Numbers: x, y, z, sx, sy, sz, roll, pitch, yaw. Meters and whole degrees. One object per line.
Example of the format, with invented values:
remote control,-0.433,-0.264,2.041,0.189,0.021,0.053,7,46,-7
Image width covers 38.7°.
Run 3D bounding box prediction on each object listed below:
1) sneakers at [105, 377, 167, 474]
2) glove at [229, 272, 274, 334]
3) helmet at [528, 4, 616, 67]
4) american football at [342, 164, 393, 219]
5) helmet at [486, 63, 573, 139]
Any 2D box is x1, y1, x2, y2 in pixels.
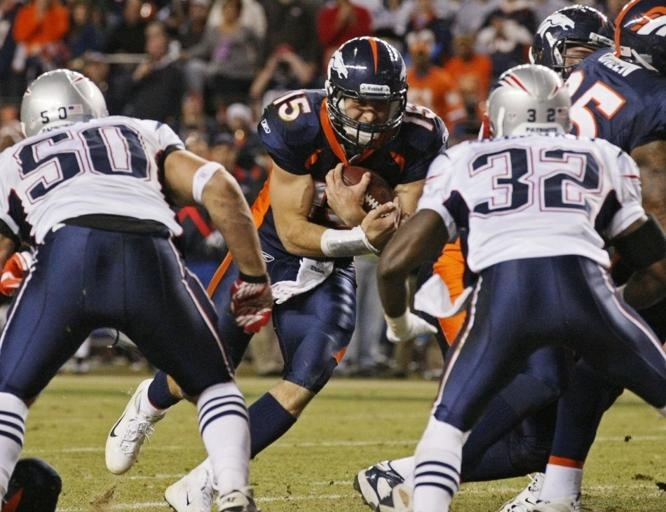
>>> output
sneakers,-1.107,0.974,5.348,0.178,0.534,0.207,37,-23,-28
glove,-0.367,0.220,4.262,0.151,0.305,0.162,10,12,30
helmet,1.404,-1.252,5.471,0.419,0.351,0.323,5,1,16
american football,0.158,-0.339,4.829,0.260,0.153,0.197,27,8,-7
helmet,0.864,-0.671,4.151,0.370,0.329,0.313,5,11,10
